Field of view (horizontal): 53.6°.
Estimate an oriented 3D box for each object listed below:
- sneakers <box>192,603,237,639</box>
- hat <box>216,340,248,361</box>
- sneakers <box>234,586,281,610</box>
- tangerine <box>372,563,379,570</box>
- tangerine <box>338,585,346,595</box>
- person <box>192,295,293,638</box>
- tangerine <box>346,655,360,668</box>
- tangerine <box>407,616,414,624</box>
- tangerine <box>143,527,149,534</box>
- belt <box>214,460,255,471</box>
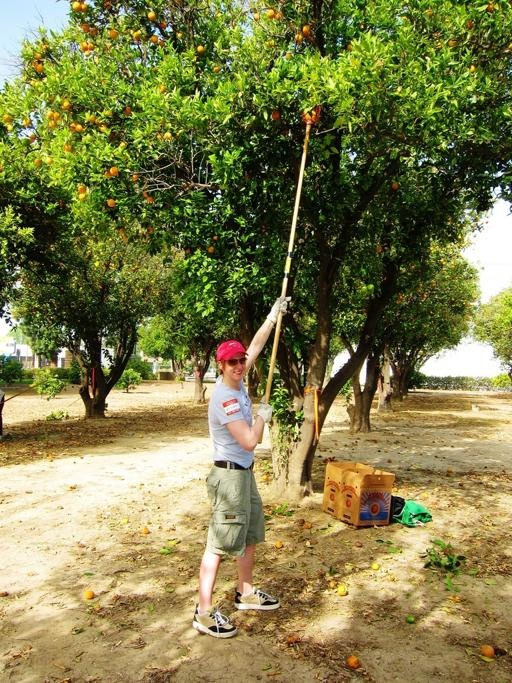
[{"bbox_3d":[-0.266,1.852,3.374,0.305,0.155,0.154,3,-6,24],"label":"sneakers"},{"bbox_3d":[-0.196,0.055,3.535,0.133,0.093,0.177,-4,-15,-30],"label":"hat"},{"bbox_3d":[0.014,1.880,3.694,0.317,0.153,0.146,3,-2,-5],"label":"sneakers"},{"bbox_3d":[1.103,2.066,4.662,0.051,0.060,0.051,2,-2,-15],"label":"tangerine"},{"bbox_3d":[0.704,2.033,4.117,0.058,0.058,0.069,-24,25,0],"label":"tangerine"},{"bbox_3d":[-0.081,0.879,3.634,0.541,1.686,0.933,2,-1,9],"label":"person"},{"bbox_3d":[0.572,1.896,2.997,0.085,0.043,0.088,2,-2,19],"label":"tangerine"},{"bbox_3d":[1.108,1.984,3.616,0.039,0.046,0.039,7,-9,11],"label":"tangerine"},{"bbox_3d":[-1.254,2.165,5.794,0.066,0.035,0.051,3,-2,20],"label":"tangerine"},{"bbox_3d":[-0.154,0.846,3.458,0.261,0.076,0.137,3,-2,-9],"label":"belt"}]
